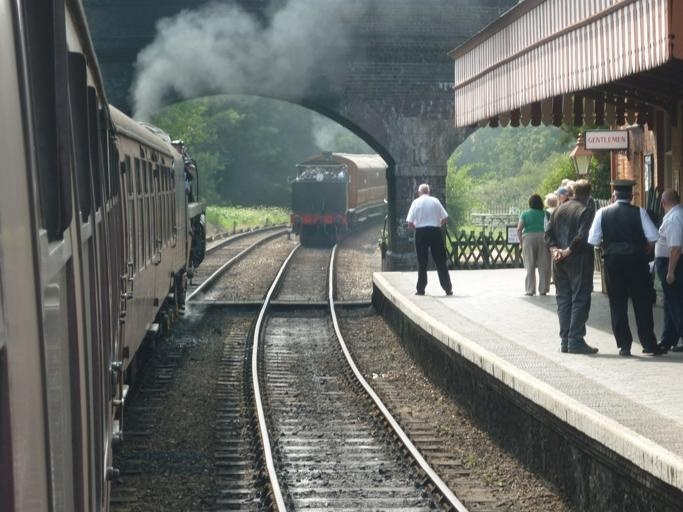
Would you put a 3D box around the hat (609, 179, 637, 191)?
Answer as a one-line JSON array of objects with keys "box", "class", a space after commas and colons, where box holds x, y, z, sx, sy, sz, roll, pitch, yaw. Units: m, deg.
[{"box": [2.787, -0.700, 9.225, 0.168, 0.108, 0.173, -5, 11, -34], "class": "hat"}]

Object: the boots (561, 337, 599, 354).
[{"box": [2.432, 0.936, 9.645, 0.388, 0.243, 0.150, -3, 5, -8], "class": "boots"}]

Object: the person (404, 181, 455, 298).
[{"box": [1.399, -0.252, 14.721, 0.701, 1.755, 1.156, 0, 5, 6], "class": "person"}]

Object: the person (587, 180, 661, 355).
[{"box": [2.817, 0.133, 9.330, 0.702, 1.780, 0.375, 1, 4, 20], "class": "person"}]
